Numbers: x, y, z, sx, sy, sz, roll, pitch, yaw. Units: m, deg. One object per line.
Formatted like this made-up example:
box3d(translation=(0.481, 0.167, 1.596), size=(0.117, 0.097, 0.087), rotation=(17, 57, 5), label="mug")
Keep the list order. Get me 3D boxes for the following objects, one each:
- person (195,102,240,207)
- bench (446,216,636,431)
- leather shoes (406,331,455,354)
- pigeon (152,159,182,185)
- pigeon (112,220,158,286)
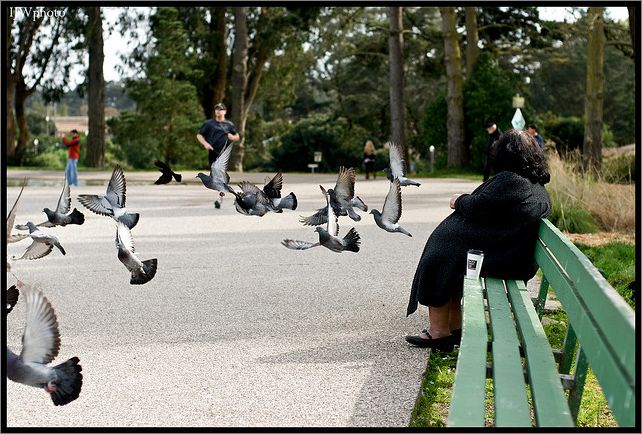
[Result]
box3d(translation=(-2.028, -1.000, 16.095), size=(0.914, 2.213, 1.046), rotation=(2, 23, 1), label="person")
box3d(translation=(1.618, 0.955, 6.389), size=(1.123, 1.423, 2.208), rotation=(1, 12, 10), label="bench")
box3d(translation=(1.004, 1.149, 7.759), size=(0.441, 0.148, 0.159), rotation=(4, 4, 26), label="leather shoes")
box3d(translation=(-1.683, -0.536, 9.523), size=(0.330, 0.162, 0.472), rotation=(22, -18, -1), label="pigeon")
box3d(translation=(-1.653, 0.319, 7.407), size=(0.287, 0.713, 0.417), rotation=(-17, 46, -32), label="pigeon")
